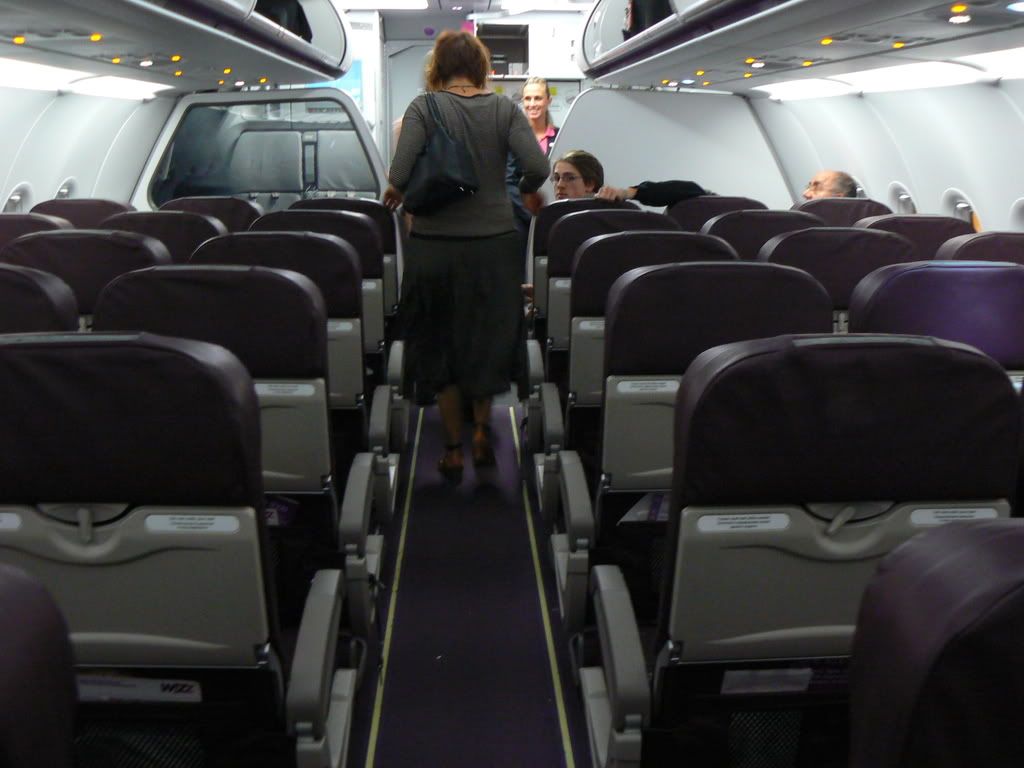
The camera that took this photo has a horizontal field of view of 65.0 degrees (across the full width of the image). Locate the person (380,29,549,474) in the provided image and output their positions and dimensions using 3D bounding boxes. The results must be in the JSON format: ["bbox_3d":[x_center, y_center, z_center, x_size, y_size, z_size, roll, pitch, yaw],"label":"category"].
[{"bbox_3d":[-0.199,-0.686,4.266,0.885,2.178,0.694,-3,12,-14],"label":"person"}]

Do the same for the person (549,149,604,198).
[{"bbox_3d":[0.448,-1.419,5.409,0.301,0.341,0.756,0,11,5],"label":"person"}]

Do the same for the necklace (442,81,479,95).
[{"bbox_3d":[-0.241,-1.430,3.890,0.097,0.028,0.102,7,31,-10],"label":"necklace"}]

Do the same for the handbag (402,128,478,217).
[{"bbox_3d":[-0.349,-1.029,3.832,0.308,0.377,0.185,-15,-7,11],"label":"handbag"}]
